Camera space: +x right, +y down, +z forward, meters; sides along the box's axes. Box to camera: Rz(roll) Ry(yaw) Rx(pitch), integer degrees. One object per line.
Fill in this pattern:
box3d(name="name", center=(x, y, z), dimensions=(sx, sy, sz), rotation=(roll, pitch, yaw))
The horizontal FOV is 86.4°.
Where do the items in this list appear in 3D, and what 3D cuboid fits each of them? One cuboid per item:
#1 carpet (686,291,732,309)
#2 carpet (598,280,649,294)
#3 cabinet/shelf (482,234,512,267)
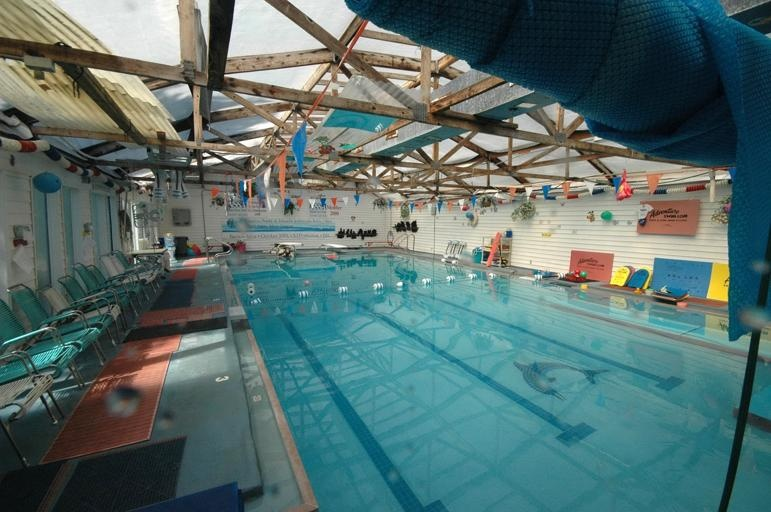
box3d(name="carpet", center=(6.939, 1.070, 8.940), dimensions=(0.631, 0.095, 1.250), rotation=(5, 8, 33))
box3d(name="carpet", center=(5.945, 0.853, 10.334), dimensions=(1.027, 0.197, 0.856), rotation=(4, 8, 32))
box3d(name="cabinet/shelf", center=(4.148, -0.063, 15.244), dimensions=(0.495, 1.166, 1.354), rotation=(18, -10, -38))
